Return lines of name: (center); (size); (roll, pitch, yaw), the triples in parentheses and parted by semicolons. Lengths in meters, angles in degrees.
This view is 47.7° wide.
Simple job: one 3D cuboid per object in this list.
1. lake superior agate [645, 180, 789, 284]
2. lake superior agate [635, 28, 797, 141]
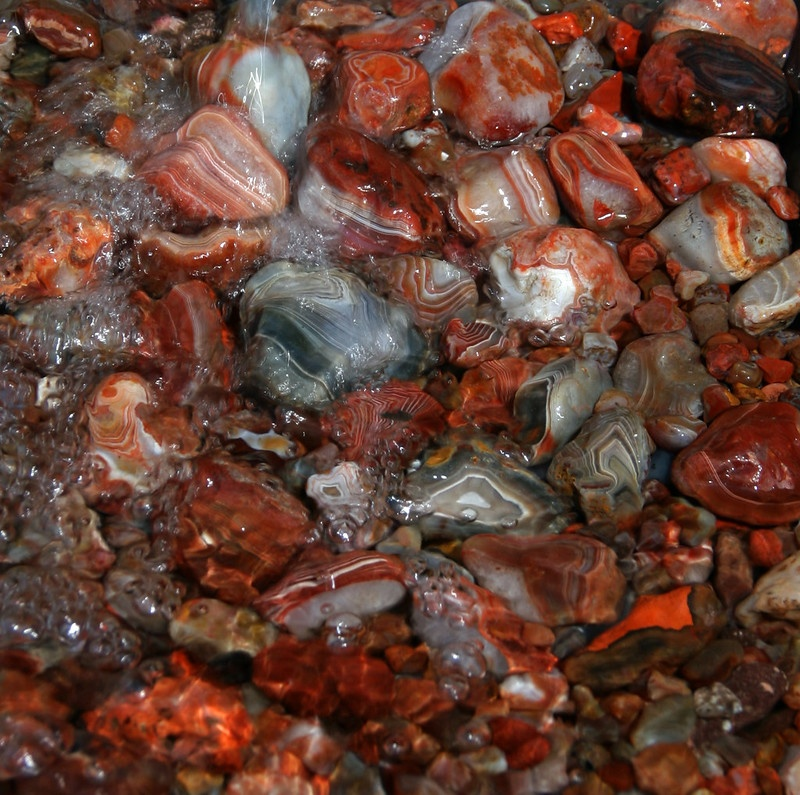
lake superior agate: (1.033, -0.549, 3.049); (0.406, 0.266, 0.299); (-4, 83, 2)
lake superior agate: (1.079, -1.072, 3.132); (0.503, 0.175, 0.314); (16, 92, -3)
